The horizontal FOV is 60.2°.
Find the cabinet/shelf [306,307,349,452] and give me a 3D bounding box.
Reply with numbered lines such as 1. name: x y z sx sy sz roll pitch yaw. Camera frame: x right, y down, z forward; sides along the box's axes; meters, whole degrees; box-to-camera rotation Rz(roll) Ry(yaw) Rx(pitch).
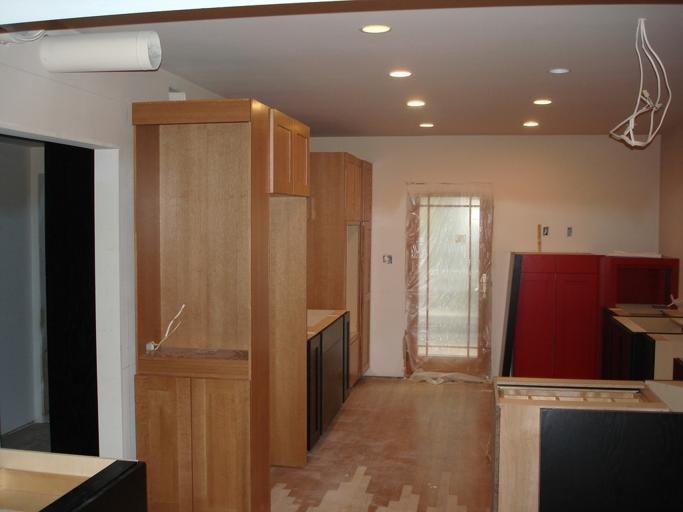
1. cabinet/shelf: -0.134 1.122 5.256 0.355 0.746 1.171 -1 1 3
